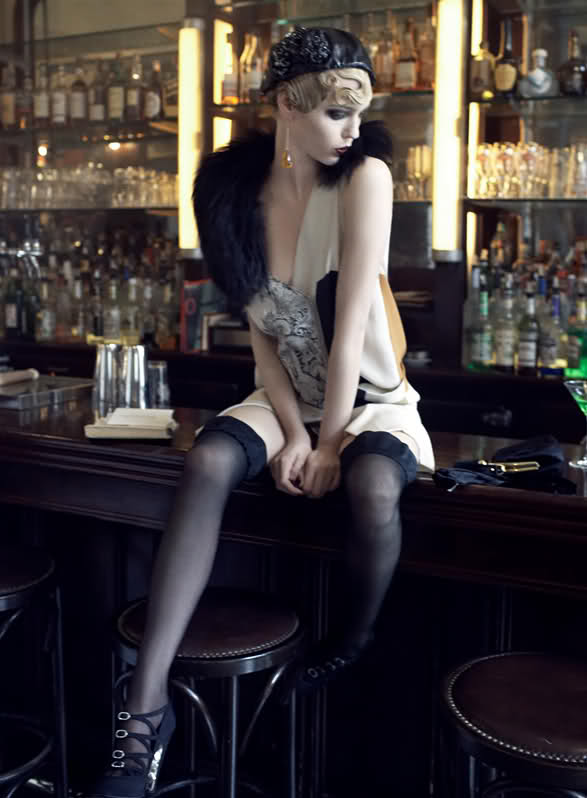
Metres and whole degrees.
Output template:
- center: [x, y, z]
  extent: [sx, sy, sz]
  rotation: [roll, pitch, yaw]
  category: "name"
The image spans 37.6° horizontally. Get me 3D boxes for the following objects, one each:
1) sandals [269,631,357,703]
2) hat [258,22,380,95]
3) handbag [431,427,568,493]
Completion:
- center: [0.036, 0.451, 1.462]
  extent: [0.186, 0.047, 0.186]
  rotation: [-10, 14, 0]
  category: "sandals"
- center: [0.026, -0.597, 1.495]
  extent: [0.220, 0.116, 0.116]
  rotation: [4, 6, 22]
  category: "hat"
- center: [0.355, 0.115, 1.443]
  extent: [0.219, 0.052, 0.229]
  rotation: [3, 7, 12]
  category: "handbag"
